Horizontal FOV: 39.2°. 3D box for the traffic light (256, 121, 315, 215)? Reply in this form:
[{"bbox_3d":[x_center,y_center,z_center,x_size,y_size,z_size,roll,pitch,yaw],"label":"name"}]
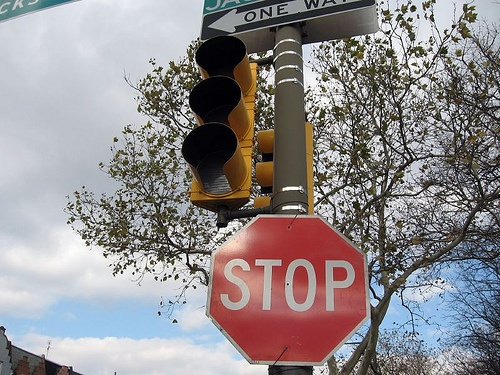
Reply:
[{"bbox_3d":[0.661,-0.357,13.630,1.121,1.702,1.004,1,-38,2],"label":"traffic light"}]
